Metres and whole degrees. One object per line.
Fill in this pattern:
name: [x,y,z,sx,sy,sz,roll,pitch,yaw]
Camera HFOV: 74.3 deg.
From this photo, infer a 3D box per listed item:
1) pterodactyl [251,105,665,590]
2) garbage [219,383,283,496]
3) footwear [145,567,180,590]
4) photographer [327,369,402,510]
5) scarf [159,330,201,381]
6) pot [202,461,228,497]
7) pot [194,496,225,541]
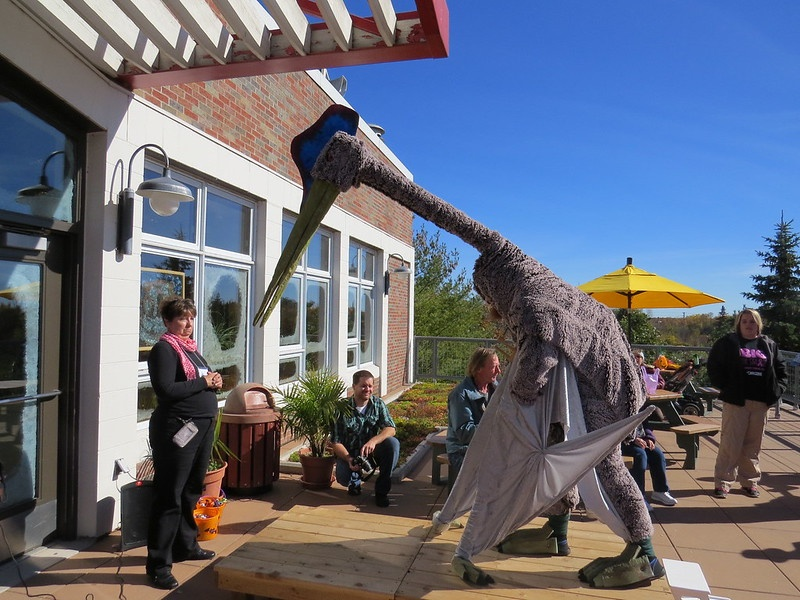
pterodactyl: [0.376,0.387,3.940,3.036,3.427,1.835,2,7,11]
garbage: [-1.612,1.561,5.939,0.542,1.095,0.700,9,4,-2]
footwear: [-1.851,2.161,4.109,0.273,0.130,0.108,1,1,15]
photographer: [-0.389,1.549,6.099,1.362,0.775,0.663,-25,-13,3]
scarf: [-1.827,0.483,4.386,0.109,0.384,0.289,-24,-14,30]
pot: [-1.870,1.816,5.296,0.265,0.218,0.270,0,4,0]
pot: [-1.777,1.997,4.860,0.279,0.249,0.341,5,-6,-31]
